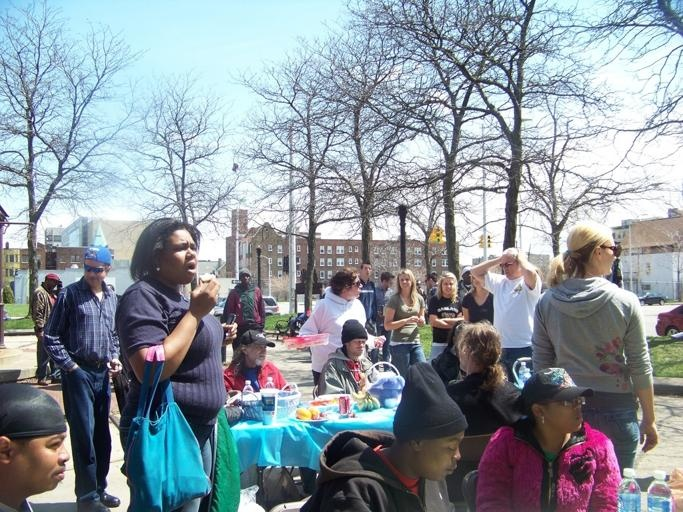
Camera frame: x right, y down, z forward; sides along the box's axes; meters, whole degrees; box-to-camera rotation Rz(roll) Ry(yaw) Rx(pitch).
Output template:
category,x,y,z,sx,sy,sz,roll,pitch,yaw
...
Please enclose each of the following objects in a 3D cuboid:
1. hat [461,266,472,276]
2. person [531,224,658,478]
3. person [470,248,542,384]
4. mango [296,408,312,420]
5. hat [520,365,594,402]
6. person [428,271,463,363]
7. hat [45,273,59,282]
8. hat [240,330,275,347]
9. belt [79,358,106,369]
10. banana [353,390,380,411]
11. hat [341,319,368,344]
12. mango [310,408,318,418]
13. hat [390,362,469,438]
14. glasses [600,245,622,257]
category,x,y,z,sx,sy,sz,roll,pitch,yaw
hat,2.453,0.270,11.562,0.215,0.120,0.344,-1,-15,-3
person,1.865,1.016,4.407,0.540,2.366,0.773,2,-6,-31
person,2.033,0.961,6.998,0.523,2.028,0.763,-1,-1,-41
mango,-0.316,1.384,5.246,0.101,0.088,0.083,11,-5,15
hat,1.332,0.809,3.712,0.304,0.175,0.217,-17,-13,21
person,1.550,0.859,8.896,0.490,1.259,0.941,-1,-5,11
hat,-5.130,0.381,10.728,0.184,0.101,0.287,10,-9,-14
hat,-0.869,0.868,6.253,0.295,0.134,0.203,4,-3,0
belt,-2.383,1.025,5.773,0.125,0.059,0.138,-1,-2,29
banana,0.242,1.366,5.598,0.132,0.134,0.222,2,-11,13
hat,0.158,0.786,6.384,0.227,0.241,0.240,-1,1,-42
mango,-0.224,1.394,5.267,0.063,0.073,0.068,5,-13,-4
hat,0.495,0.775,3.258,0.386,0.420,0.313,-3,-3,13
glasses,2.203,-0.049,4.876,0.161,0.054,0.160,8,-8,-39
